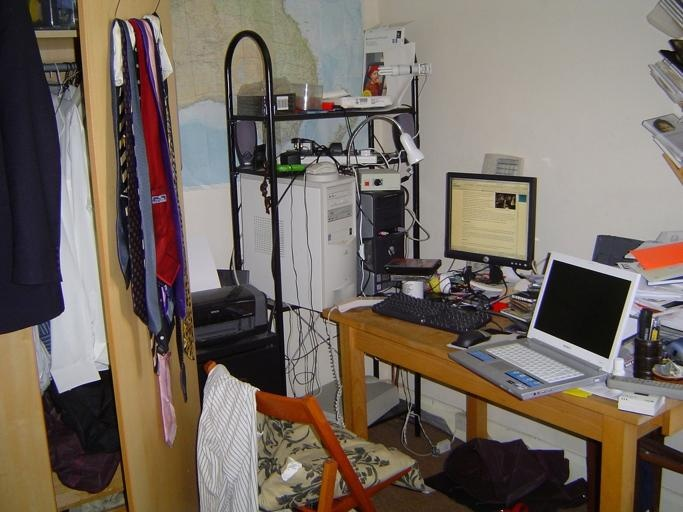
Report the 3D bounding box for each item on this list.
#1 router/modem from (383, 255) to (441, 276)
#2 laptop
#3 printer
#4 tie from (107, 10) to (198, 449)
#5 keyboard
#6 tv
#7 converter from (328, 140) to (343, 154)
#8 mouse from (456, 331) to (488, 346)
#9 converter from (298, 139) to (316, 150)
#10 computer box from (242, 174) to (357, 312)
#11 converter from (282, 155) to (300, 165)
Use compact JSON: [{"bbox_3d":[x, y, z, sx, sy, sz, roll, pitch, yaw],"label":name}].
[{"bbox_3d":[0.348,0.054,2.733,0.273,0.063,0.189,1,13,10],"label":"router/modem"},{"bbox_3d":[0.725,0.238,2.019,0.520,0.420,0.357,-3,13,-9],"label":"laptop"},{"bbox_3d":[-0.500,0.272,2.512,0.321,0.176,0.245,-9,15,-32],"label":"printer"},{"bbox_3d":[-0.662,-0.036,2.006,0.144,1.583,0.272,3,13,20],"label":"tie"},{"bbox_3d":[0.406,0.251,2.425,0.350,0.066,0.146,13,33,44],"label":"keyboard"},{"bbox_3d":[0.733,-0.151,2.687,0.455,0.550,0.172,7,11,39],"label":"tv"},{"bbox_3d":[-0.035,-0.581,2.987,0.093,0.071,0.066,-2,0,-33],"label":"converter"},{"bbox_3d":[0.517,0.326,2.212,0.097,0.027,0.057,-17,22,-41],"label":"mouse"},{"bbox_3d":[-0.189,-0.602,3.017,0.063,0.038,0.093,3,17,0],"label":"converter"},{"bbox_3d":[-0.220,-0.145,2.797,0.462,0.713,0.548,-9,17,-33],"label":"computer box"},{"bbox_3d":[-0.251,-0.484,2.841,0.075,0.053,0.053,-5,4,-34],"label":"converter"}]
